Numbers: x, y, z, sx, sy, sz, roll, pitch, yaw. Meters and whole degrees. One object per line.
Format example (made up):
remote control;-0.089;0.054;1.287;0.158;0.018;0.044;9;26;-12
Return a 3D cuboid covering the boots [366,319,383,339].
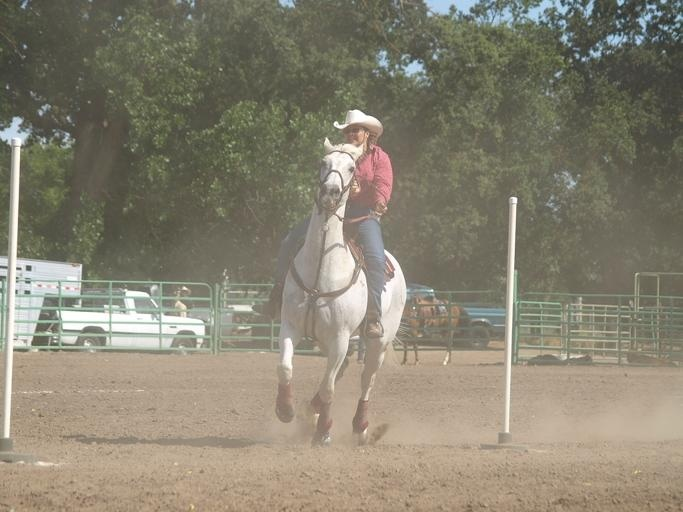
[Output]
boots;0.634;1.431;18.840;0.357;0.407;0.235;-1;6;0

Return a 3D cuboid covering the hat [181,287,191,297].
hat;-5.307;1.243;33.433;0.312;0.215;0.357;10;-17;28

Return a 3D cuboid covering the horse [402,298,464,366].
horse;2.843;2.252;30.156;1.789;2.394;4.538;2;-8;8

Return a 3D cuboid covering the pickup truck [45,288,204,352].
pickup truck;-6.697;2.101;30.353;3.927;1.990;2.209;0;-1;-17

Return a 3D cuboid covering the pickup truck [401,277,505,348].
pickup truck;4.266;1.945;35.092;3.734;1.344;2.359;2;-6;-11
